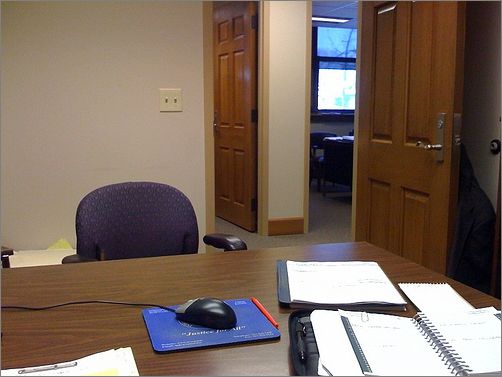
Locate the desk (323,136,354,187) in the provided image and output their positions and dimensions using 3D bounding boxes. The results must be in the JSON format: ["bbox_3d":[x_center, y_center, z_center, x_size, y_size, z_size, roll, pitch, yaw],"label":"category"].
[{"bbox_3d":[1.320,-0.406,6.062,0.422,0.666,0.683,-6,12,-23],"label":"desk"}]

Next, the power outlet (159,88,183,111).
[{"bbox_3d":[-0.517,-0.564,2.541,0.132,0.147,0.023,0,6,-16],"label":"power outlet"}]
